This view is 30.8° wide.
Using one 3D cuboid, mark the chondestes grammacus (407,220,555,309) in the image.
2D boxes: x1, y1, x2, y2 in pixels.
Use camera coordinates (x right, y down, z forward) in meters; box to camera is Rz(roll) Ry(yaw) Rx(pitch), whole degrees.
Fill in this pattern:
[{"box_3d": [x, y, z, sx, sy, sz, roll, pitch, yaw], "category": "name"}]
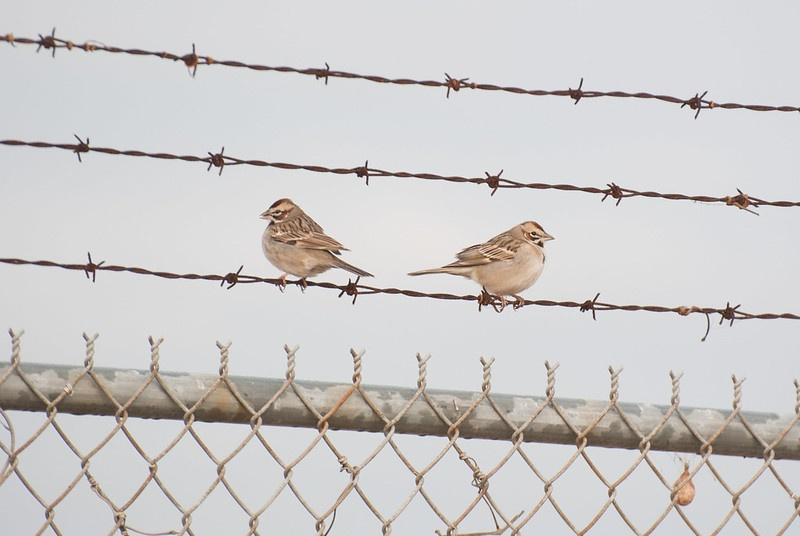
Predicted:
[{"box_3d": [0.538, -0.024, 9.873, 0.980, 0.600, 0.344, 0, -2, 4], "category": "chondestes grammacus"}]
